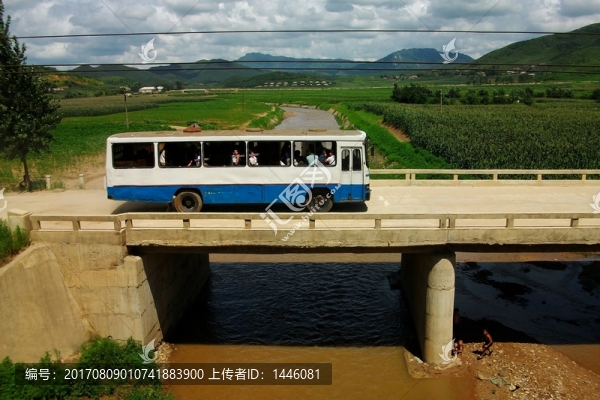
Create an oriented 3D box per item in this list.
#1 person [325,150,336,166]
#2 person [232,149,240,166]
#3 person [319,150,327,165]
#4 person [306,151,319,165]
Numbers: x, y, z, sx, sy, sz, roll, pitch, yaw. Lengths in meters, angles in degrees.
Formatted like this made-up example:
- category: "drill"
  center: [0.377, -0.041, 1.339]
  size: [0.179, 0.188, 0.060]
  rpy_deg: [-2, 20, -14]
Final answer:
- category: "person"
  center: [2.043, -2.716, 36.512]
  size: [0.652, 0.872, 0.313]
  rpy_deg: [0, 1, 2]
- category: "person"
  center: [-4.195, -2.840, 36.621]
  size: [0.349, 0.981, 0.519]
  rpy_deg: [-9, 54, -10]
- category: "person"
  center: [1.493, -2.787, 36.645]
  size: [0.480, 0.942, 0.303]
  rpy_deg: [-2, 13, 8]
- category: "person"
  center: [0.825, -2.792, 36.619]
  size: [0.858, 0.833, 0.454]
  rpy_deg: [1, 13, 5]
